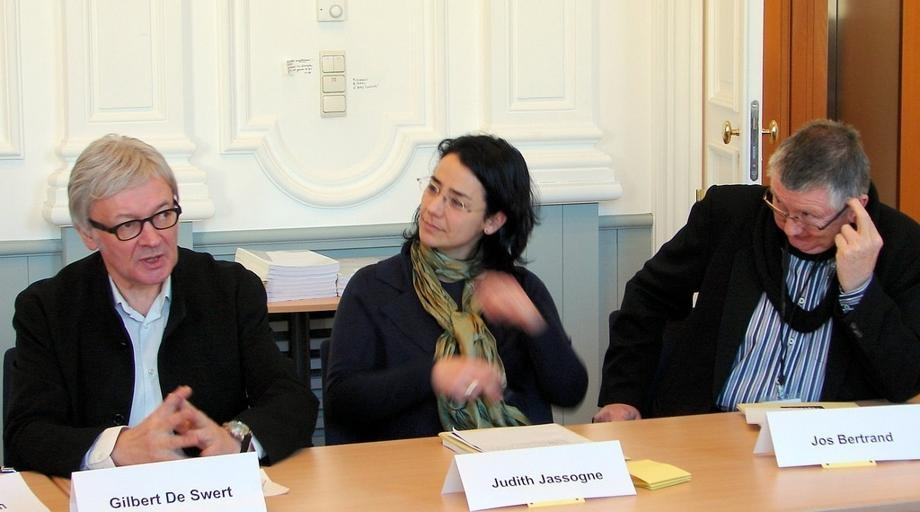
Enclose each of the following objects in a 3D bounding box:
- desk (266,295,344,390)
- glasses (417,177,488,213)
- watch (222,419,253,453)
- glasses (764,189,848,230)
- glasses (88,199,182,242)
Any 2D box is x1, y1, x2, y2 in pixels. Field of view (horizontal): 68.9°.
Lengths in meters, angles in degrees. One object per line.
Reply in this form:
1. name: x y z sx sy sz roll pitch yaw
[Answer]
1. desk: -0.855 0.417 3.668 0.550 0.499 0.531 -1 2 -21
2. glasses: -0.024 -0.237 2.539 0.168 0.055 0.172 4 -17 9
3. watch: -0.686 0.558 2.100 0.090 0.046 0.088 43 15 25
4. glasses: 1.354 -0.187 2.648 0.302 0.144 0.172 4 13 36
5. glasses: -1.101 -0.124 2.280 0.277 0.118 0.111 -9 12 -28
